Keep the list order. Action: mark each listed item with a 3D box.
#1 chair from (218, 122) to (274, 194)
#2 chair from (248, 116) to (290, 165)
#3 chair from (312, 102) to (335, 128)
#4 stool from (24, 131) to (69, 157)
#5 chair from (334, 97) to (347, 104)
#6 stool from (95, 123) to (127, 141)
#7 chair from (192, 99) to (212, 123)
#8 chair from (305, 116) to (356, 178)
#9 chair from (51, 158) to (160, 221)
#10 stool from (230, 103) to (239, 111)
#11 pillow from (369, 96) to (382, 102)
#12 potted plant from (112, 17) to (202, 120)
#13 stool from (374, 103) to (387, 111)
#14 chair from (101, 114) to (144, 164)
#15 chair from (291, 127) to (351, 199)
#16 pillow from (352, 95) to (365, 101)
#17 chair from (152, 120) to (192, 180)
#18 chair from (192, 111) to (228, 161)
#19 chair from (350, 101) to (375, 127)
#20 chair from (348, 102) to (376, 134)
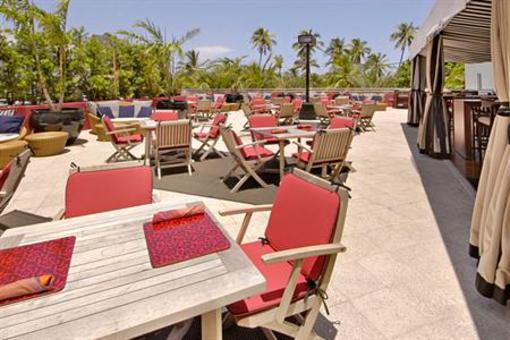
[{"bbox_3d":[-0.170,-0.270,5.400,1.144,1.075,1.023,-11,18,-39],"label":"chair"},{"bbox_3d":[0.176,-0.781,6.743,0.993,1.185,1.226,-8,21,-23],"label":"chair"},{"bbox_3d":[2.921,-2.250,11.645,1.044,0.972,0.815,-10,19,-34],"label":"chair"},{"bbox_3d":[-5.954,-0.846,8.038,1.149,0.517,1.046,-4,24,-45],"label":"stool"},{"bbox_3d":[4.367,-3.503,14.454,0.556,0.295,1.074,9,18,29],"label":"chair"},{"bbox_3d":[-4.009,-1.080,7.976,0.955,0.338,0.988,1,7,-8],"label":"stool"},{"bbox_3d":[-2.662,-3.026,14.527,1.068,1.015,0.992,11,11,31],"label":"chair"},{"bbox_3d":[1.406,-0.391,5.890,1.095,1.141,1.083,-18,25,-31],"label":"chair"},{"bbox_3d":[-1.389,0.173,2.761,0.652,0.743,0.652,-3,14,-24],"label":"chair"},{"bbox_3d":[-1.438,-4.580,20.655,0.854,0.386,0.576,-1,10,11],"label":"stool"},{"bbox_3d":[7.238,-4.280,17.138,0.568,0.341,1.799,8,18,26],"label":"pillow"},{"bbox_3d":[-3.873,-4.504,11.917,2.822,3.239,1.311,-6,18,-18],"label":"potted plant"},{"bbox_3d":[7.865,-3.957,17.931,0.593,0.437,0.512,6,18,20],"label":"stool"},{"bbox_3d":[-3.188,-0.736,6.875,1.052,1.023,0.931,2,14,-8],"label":"chair"},{"bbox_3d":[1.132,-0.257,5.243,1.105,1.033,1.036,7,16,30],"label":"chair"},{"bbox_3d":[6.088,-4.274,16.943,0.749,0.260,1.947,5,17,16],"label":"pillow"},{"bbox_3d":[-1.879,-0.575,6.404,0.885,1.139,0.930,-4,17,-21],"label":"chair"},{"bbox_3d":[-1.211,-0.918,7.430,0.979,1.023,0.898,-11,19,-36],"label":"chair"},{"bbox_3d":[4.100,-2.089,10.956,0.897,0.962,0.936,-13,10,-37],"label":"chair"},{"bbox_3d":[4.064,-2.059,10.920,0.981,0.920,0.980,-5,7,28],"label":"chair"}]
